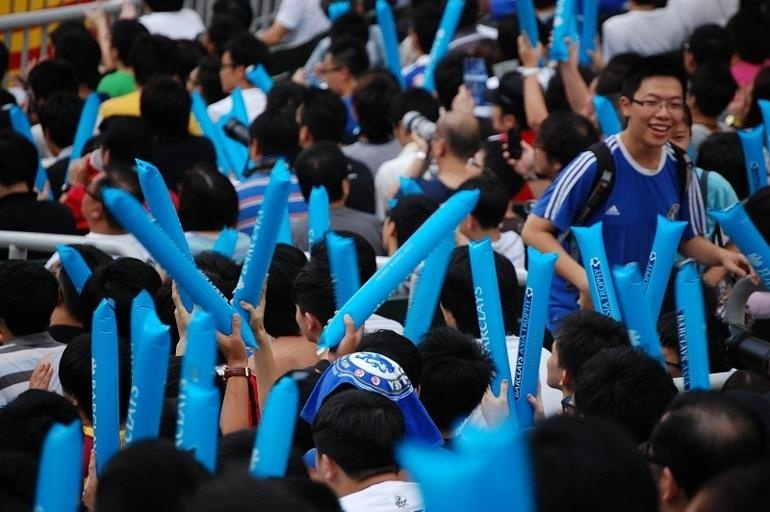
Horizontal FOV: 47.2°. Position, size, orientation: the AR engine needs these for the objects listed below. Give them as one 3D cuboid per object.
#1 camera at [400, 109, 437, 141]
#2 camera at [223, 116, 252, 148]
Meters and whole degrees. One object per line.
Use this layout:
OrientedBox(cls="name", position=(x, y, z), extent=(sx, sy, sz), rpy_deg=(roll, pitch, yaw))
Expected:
OrientedBox(cls="camera", position=(0.247, -0.959, 6.524), extent=(0.122, 0.145, 0.310), rpy_deg=(-13, 41, -41))
OrientedBox(cls="camera", position=(-1.244, -1.030, 7.386), extent=(0.177, 0.223, 0.365), rpy_deg=(-13, 17, -24))
